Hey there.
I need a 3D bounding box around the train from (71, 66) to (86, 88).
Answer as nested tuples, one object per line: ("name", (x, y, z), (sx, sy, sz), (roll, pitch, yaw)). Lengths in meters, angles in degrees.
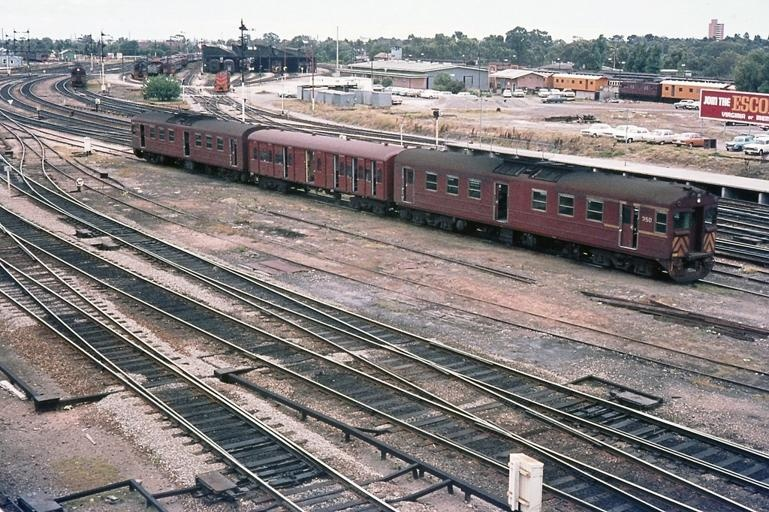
("train", (-43.898, -25.484, 127.537), (1.588, 3.163, 2.984), (-2, 18, -10))
